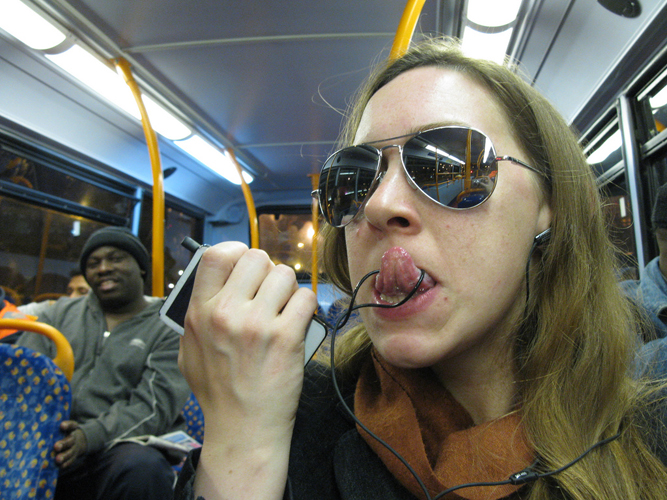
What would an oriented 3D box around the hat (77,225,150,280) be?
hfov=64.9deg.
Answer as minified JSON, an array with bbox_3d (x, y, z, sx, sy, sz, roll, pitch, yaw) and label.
[{"bbox_3d":[-1.926,-0.018,4.734,0.471,0.430,0.514,-5,-37,-8],"label":"hat"}]
